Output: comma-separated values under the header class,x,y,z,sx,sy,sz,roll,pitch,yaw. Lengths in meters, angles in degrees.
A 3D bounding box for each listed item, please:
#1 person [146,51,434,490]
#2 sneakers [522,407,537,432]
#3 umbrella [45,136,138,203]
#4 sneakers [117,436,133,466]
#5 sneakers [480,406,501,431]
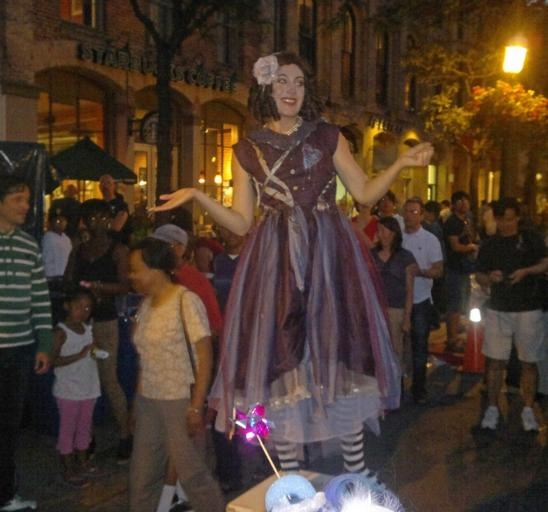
class,x,y,z,sx,sy,sz,roll,pitch,yaw
person,0.165,0.106,4.534,1.201,2.640,0.697,0,7,8
sneakers,2.288,1.467,6.878,0.124,0.211,0.207,-1,-11,-6
umbrella,-3.089,-1.451,12.801,1.938,1.034,1.942,0,0,-10
sneakers,-1.261,1.652,6.486,0.093,0.122,0.282,2,3,4
sneakers,1.984,1.497,7.038,0.193,0.265,0.145,4,6,-9
